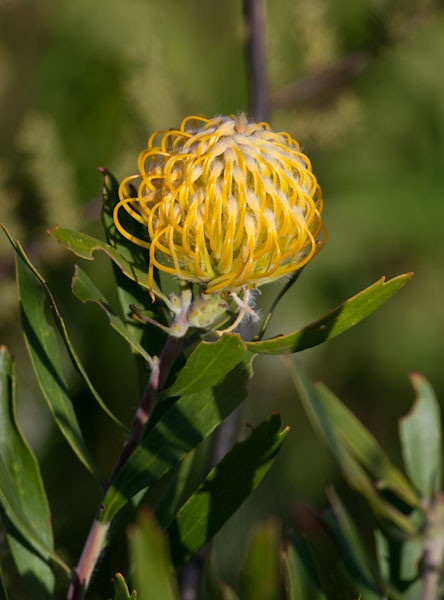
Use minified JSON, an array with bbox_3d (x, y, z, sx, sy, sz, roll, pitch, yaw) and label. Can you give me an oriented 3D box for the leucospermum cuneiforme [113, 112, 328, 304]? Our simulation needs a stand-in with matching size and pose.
[{"bbox_3d":[0.001,-0.084,0.539,0.137,0.144,0.127,-6,16,-19],"label":"leucospermum cuneiforme"}]
